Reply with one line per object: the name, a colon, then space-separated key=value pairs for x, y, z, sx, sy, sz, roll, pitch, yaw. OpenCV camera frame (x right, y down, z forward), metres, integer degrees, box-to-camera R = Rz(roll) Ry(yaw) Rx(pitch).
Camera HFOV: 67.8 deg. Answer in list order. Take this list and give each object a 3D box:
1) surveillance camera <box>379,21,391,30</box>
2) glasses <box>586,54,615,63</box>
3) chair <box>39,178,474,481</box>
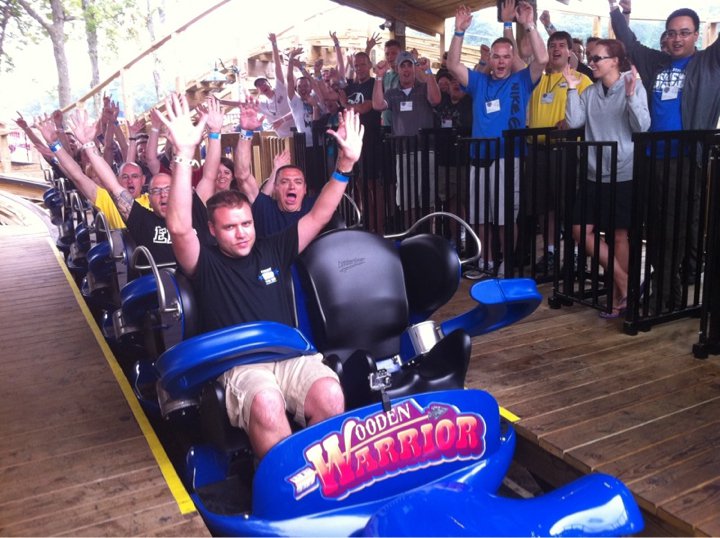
surveillance camera: x=0.307 y=-3.046 z=6.660 sx=0.051 sy=0.142 sz=0.141 roll=24 pitch=-20 yaw=-39
glasses: x=1.548 y=-1.376 z=3.510 sx=0.101 sy=0.051 sz=0.191 roll=-9 pitch=16 yaw=-18
chair: x=-0.131 y=0.191 z=2.808 sx=1.315 sy=0.632 sz=1.475 roll=-13 pitch=39 yaw=-13
